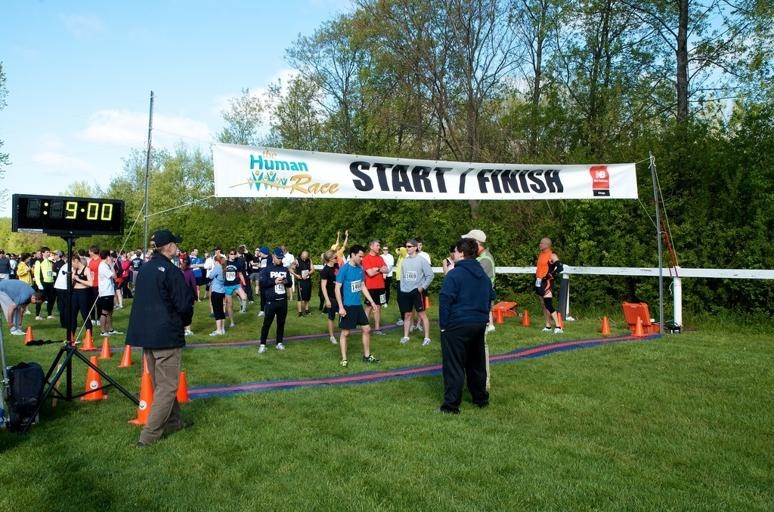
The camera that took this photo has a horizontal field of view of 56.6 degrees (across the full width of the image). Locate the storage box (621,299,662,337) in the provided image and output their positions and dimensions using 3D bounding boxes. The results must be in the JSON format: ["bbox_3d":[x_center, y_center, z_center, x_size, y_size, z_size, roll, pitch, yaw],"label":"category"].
[{"bbox_3d":[7.137,1.704,20.075,1.049,0.801,0.743,8,-5,-35],"label":"storage box"}]

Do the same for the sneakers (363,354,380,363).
[{"bbox_3d":[-0.382,2.564,18.142,0.423,0.197,0.155,1,0,3],"label":"sneakers"}]

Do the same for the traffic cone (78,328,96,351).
[{"bbox_3d":[-8.267,2.350,20.191,0.541,0.671,0.569,2,2,32],"label":"traffic cone"}]

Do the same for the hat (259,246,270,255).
[{"bbox_3d":[-4.361,-0.214,25.603,0.222,0.272,0.286,3,19,-47],"label":"hat"}]

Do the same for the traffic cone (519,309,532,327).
[{"bbox_3d":[4.227,1.869,21.775,0.394,0.554,0.384,-11,17,-10],"label":"traffic cone"}]

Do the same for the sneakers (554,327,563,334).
[{"bbox_3d":[4.778,2.068,20.146,0.137,0.212,0.202,-3,-5,-42],"label":"sneakers"}]

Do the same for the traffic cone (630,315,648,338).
[{"bbox_3d":[6.838,1.891,19.572,0.479,0.584,0.468,-5,3,-41],"label":"traffic cone"}]

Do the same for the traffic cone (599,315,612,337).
[{"bbox_3d":[6.124,1.941,20.154,0.443,0.644,0.461,-4,3,26],"label":"traffic cone"}]

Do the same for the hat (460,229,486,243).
[{"bbox_3d":[2.091,-0.503,17.331,0.562,0.297,0.384,7,-1,-7],"label":"hat"}]

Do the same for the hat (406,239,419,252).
[{"bbox_3d":[0.712,-0.310,20.043,0.314,0.351,0.273,4,1,-30],"label":"hat"}]

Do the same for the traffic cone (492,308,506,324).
[{"bbox_3d":[3.502,1.879,22.549,0.375,0.456,0.391,-3,12,19],"label":"traffic cone"}]

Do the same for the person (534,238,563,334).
[{"bbox_3d":[4.612,0.835,20.246,0.795,2.601,0.775,5,16,25],"label":"person"}]

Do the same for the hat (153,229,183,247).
[{"bbox_3d":[-4.584,-0.402,14.901,0.274,0.239,0.453,16,26,38],"label":"hat"}]

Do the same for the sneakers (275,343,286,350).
[{"bbox_3d":[-2.898,2.444,19.671,0.122,0.148,0.324,2,-4,-38],"label":"sneakers"}]
